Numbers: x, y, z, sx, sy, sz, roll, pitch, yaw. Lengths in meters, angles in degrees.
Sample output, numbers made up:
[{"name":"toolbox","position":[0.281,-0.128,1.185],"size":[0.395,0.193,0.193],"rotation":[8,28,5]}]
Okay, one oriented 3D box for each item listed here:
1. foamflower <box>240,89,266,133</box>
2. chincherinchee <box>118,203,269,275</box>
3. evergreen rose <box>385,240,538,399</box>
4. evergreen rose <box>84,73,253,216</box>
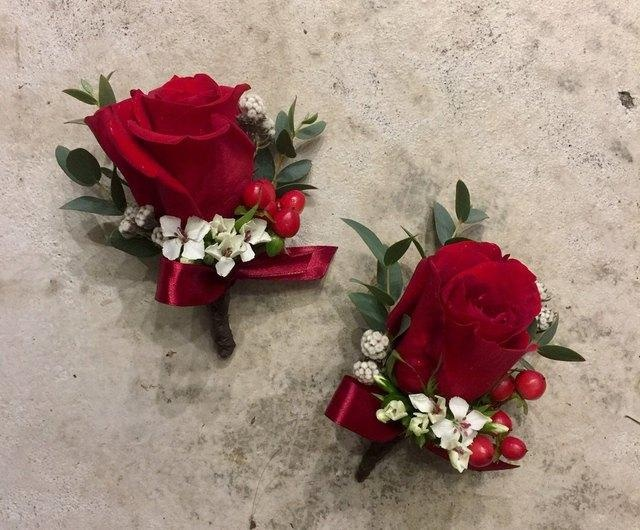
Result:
[{"name":"foamflower","position":[-0.127,-0.274,1.365],"size":[0.032,0.058,0.043],"rotation":[-22,57,-11]},{"name":"chincherinchee","position":[-0.215,-0.053,1.333],"size":[0.214,0.068,0.127],"rotation":[-1,38,-19]},{"name":"evergreen rose","position":[0.223,0.100,1.266],"size":[0.208,0.204,0.197],"rotation":[15,63,-3]},{"name":"evergreen rose","position":[-0.226,-0.196,1.359],"size":[0.254,0.279,0.191],"rotation":[-41,115,-25]}]
